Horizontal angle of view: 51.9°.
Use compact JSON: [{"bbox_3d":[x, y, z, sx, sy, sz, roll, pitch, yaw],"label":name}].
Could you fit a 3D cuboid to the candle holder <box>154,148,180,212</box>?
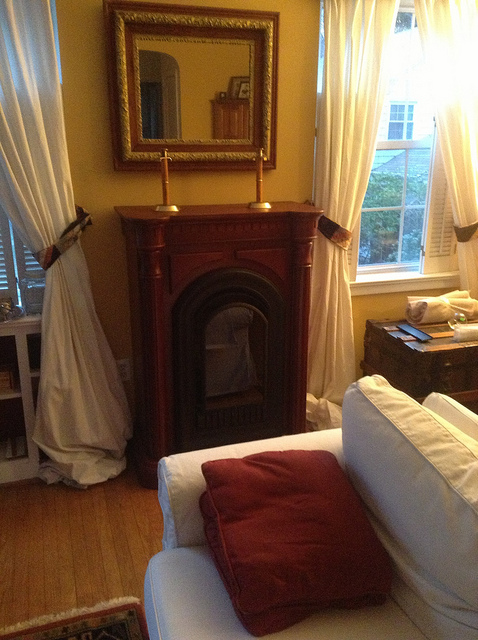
[{"bbox_3d":[-0.313,-0.599,2.120,0.104,0.257,0.260,-1,13,-8],"label":"candle holder"}]
